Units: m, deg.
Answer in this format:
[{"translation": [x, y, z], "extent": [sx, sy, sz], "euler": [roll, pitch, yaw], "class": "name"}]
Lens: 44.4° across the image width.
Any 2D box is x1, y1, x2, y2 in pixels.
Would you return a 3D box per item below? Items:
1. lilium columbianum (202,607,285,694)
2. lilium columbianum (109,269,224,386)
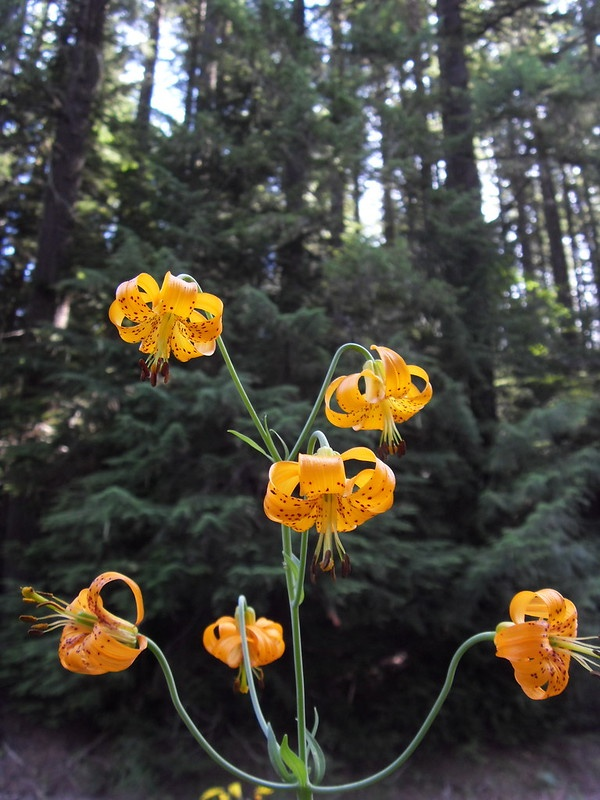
[{"translation": [-0.168, 0.804, 2.351], "extent": [0.218, 0.281, 0.215], "euler": [-7, -11, 32], "class": "lilium columbianum"}, {"translation": [-0.417, -0.210, 2.297], "extent": [0.346, 0.343, 0.224], "euler": [-7, -11, 33], "class": "lilium columbianum"}]
